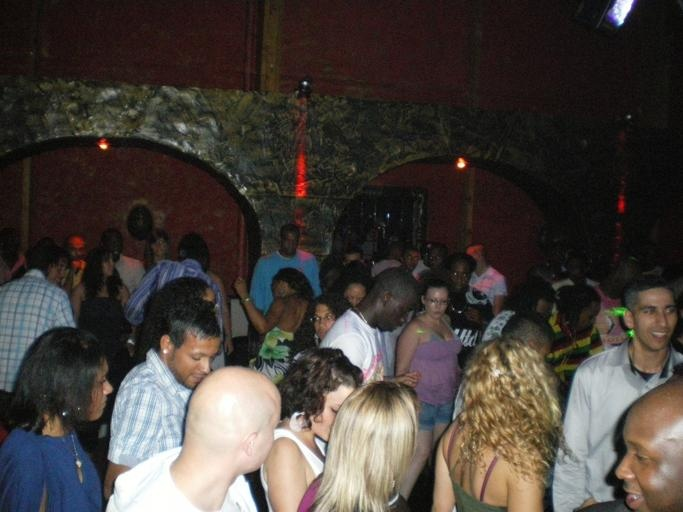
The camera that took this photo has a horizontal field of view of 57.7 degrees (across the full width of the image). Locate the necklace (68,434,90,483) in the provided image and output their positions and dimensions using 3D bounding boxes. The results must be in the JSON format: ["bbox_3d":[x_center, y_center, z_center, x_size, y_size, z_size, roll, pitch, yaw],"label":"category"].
[{"bbox_3d":[-1.710,1.302,4.037,0.061,0.448,0.060,5,17,29],"label":"necklace"}]

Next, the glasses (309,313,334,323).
[{"bbox_3d":[-0.167,0.548,5.496,0.247,0.061,0.071,-4,-11,34],"label":"glasses"}]
